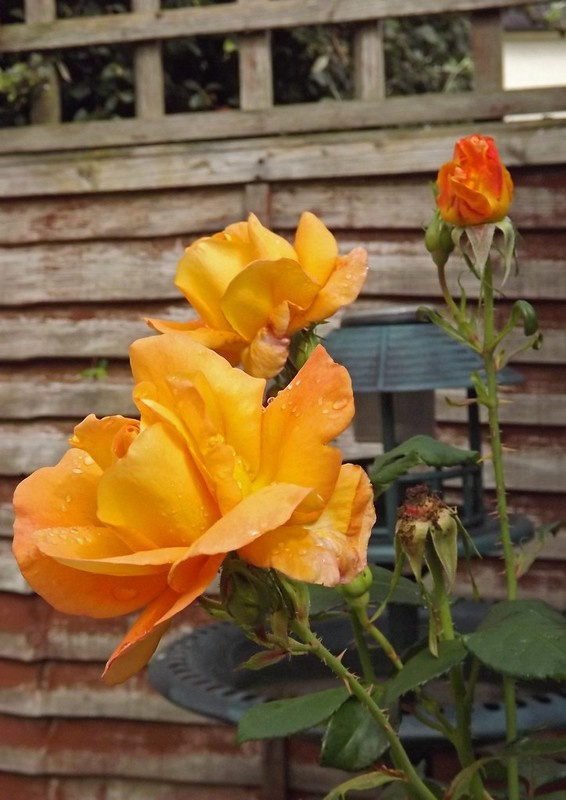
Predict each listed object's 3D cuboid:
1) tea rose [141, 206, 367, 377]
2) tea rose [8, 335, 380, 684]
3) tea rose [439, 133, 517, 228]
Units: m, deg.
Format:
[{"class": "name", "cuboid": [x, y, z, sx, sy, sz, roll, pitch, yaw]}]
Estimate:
[{"class": "tea rose", "cuboid": [-0.032, -0.086, 1.394, 0.226, 0.184, 0.176, -15, -40, 24]}, {"class": "tea rose", "cuboid": [-0.092, 0.106, 1.208, 0.358, 0.341, 0.129, -3, 4, 2]}, {"class": "tea rose", "cuboid": [0.223, -0.263, 1.463, 0.088, 0.112, 0.060, -3, 4, 6]}]
